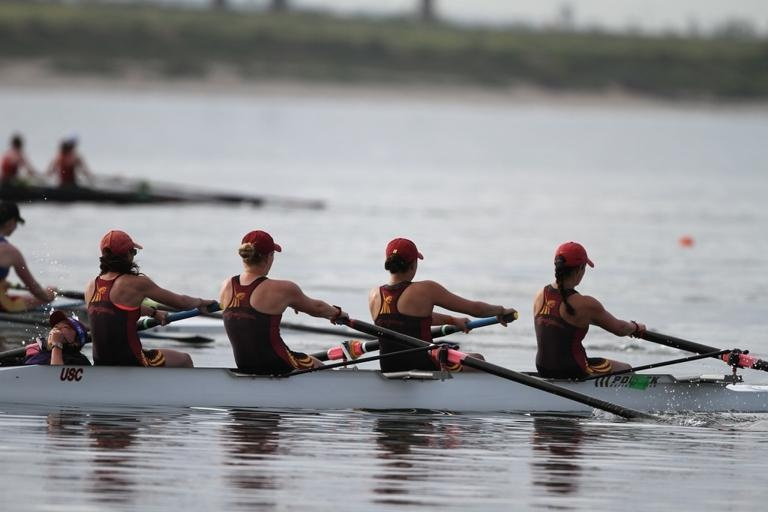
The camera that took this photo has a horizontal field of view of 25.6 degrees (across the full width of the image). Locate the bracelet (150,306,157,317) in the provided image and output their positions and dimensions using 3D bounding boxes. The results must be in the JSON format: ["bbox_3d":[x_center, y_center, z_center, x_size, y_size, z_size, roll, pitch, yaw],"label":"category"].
[{"bbox_3d":[-3.605,0.868,26.384,0.092,0.122,0.127,0,8,-39],"label":"bracelet"}]

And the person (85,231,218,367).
[{"bbox_3d":[-3.834,0.667,26.064,1.519,2.112,0.593,-1,14,-9],"label":"person"}]

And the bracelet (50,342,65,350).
[{"bbox_3d":[-5.063,1.368,26.120,0.150,0.081,0.133,7,-6,-19],"label":"bracelet"}]

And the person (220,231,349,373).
[{"bbox_3d":[-1.738,0.705,26.087,1.564,2.221,0.388,0,14,-5],"label":"person"}]

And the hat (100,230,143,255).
[{"bbox_3d":[-4.098,-0.234,25.999,0.512,0.321,0.371,1,12,1],"label":"hat"}]

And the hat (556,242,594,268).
[{"bbox_3d":[3.000,-0.060,26.651,0.528,0.379,0.717,3,12,10],"label":"hat"}]

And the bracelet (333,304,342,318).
[{"bbox_3d":[-0.712,0.843,26.412,0.160,0.160,0.071,5,12,27],"label":"bracelet"}]

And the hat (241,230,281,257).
[{"bbox_3d":[-1.928,-0.216,26.024,0.624,0.390,0.436,0,12,-6],"label":"hat"}]

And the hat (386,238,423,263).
[{"bbox_3d":[0.349,-0.088,26.400,0.500,0.238,0.359,4,5,-41],"label":"hat"}]

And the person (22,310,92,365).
[{"bbox_3d":[-4.966,1.181,26.418,1.380,0.588,0.788,14,6,14],"label":"person"}]
